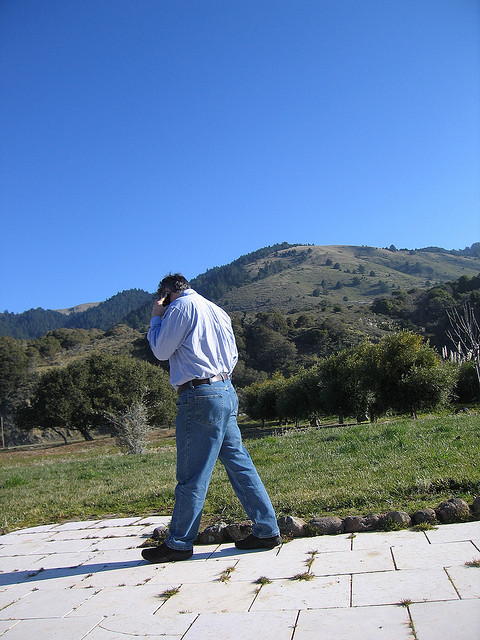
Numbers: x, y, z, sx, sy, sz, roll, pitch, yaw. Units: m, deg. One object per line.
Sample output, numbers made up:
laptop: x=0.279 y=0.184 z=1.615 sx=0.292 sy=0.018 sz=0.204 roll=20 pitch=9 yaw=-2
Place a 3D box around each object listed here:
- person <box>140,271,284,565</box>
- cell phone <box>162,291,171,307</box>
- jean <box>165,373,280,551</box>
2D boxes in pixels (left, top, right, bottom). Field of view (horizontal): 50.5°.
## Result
person: x=-0.298 y=0.705 z=4.118 sx=0.981 sy=2.298 sz=0.539 roll=-7 pitch=-5 yaw=-5
cell phone: x=-0.621 y=-0.180 z=4.322 sx=0.078 sy=0.113 sz=0.044 roll=7 pitch=3 yaw=28
jean: x=-0.210 y=1.103 z=4.029 sx=0.891 sy=1.322 sz=0.410 roll=-6 pitch=-5 yaw=-13
